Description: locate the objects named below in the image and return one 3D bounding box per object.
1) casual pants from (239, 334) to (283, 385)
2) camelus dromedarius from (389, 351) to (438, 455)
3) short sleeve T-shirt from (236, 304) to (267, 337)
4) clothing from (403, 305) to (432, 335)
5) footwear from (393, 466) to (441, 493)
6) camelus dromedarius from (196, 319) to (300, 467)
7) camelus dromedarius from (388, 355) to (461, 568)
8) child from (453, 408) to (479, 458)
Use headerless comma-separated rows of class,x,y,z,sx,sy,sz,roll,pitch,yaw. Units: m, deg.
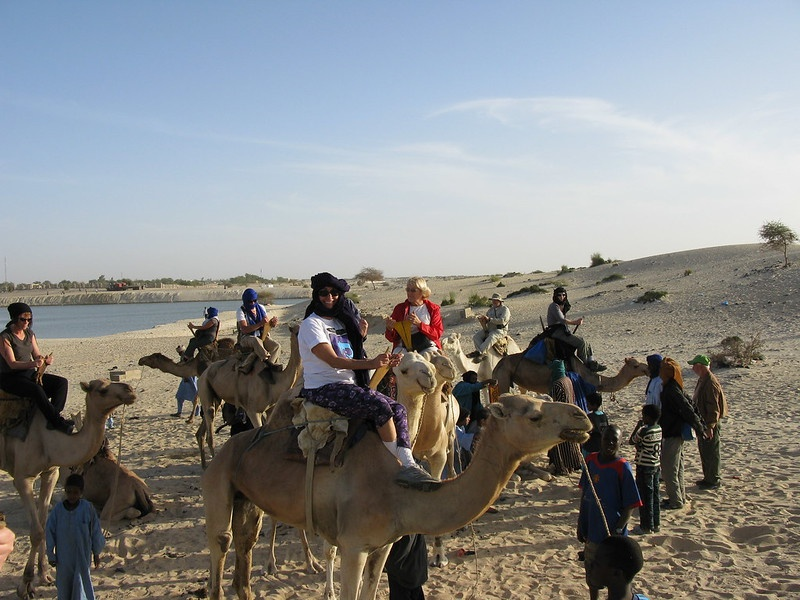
casual pants,-2.336,0.929,10.725,0.927,0.571,0.453,27,44,36
camelus dromedarius,0.170,1.053,6.617,0.449,1.038,0.443,-3,1,-35
short sleeve T-shirt,-2.730,0.392,11.486,0.363,0.593,0.659,-1,1,35
clothing,0.226,0.283,8.295,0.349,0.375,0.215,3,-20,-13
footwear,0.121,1.614,5.627,0.465,0.200,0.155,3,7,17
camelus dromedarius,-2.540,1.723,10.769,2.487,2.592,0.671,0,11,22
camelus dromedarius,0.372,1.855,7.327,0.951,2.519,0.999,0,2,-1
child,1.019,2.083,9.745,0.559,0.678,0.296,3,-3,-20
